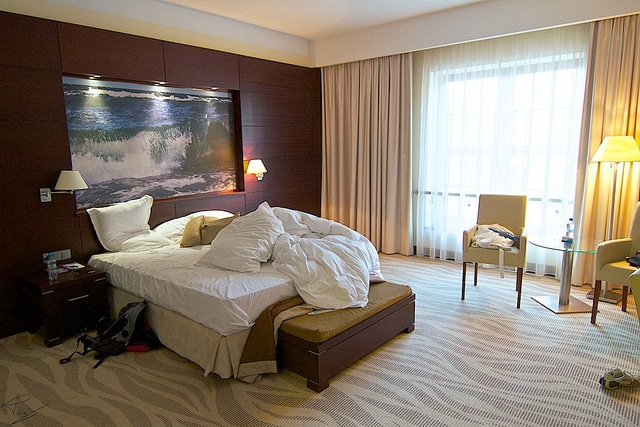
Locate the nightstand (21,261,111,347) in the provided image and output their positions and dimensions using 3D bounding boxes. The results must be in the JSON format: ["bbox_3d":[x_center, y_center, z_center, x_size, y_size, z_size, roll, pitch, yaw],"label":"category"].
[{"bbox_3d":[-2.945,0.926,4.948,0.833,0.804,0.814,8,14,34],"label":"nightstand"}]

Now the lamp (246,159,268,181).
[{"bbox_3d":[-1.013,-0.705,6.613,0.326,0.376,0.307,-3,14,-8],"label":"lamp"}]

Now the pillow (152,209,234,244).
[{"bbox_3d":[-1.653,0.167,5.607,0.629,0.190,0.627,-6,10,10],"label":"pillow"}]

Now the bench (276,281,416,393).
[{"bbox_3d":[0.198,0.946,4.102,0.844,0.410,1.270,2,7,41],"label":"bench"}]

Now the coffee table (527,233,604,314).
[{"bbox_3d":[3.000,0.719,5.307,0.902,0.830,0.886,-5,14,-23],"label":"coffee table"}]

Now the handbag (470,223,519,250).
[{"bbox_3d":[2.270,0.292,5.380,0.551,0.241,0.510,7,12,26],"label":"handbag"}]

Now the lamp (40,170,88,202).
[{"bbox_3d":[-3.014,-0.314,4.919,0.496,0.368,0.319,1,18,-5],"label":"lamp"}]

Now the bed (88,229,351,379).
[{"bbox_3d":[-1.186,0.965,4.050,1.473,0.382,1.448,8,9,24],"label":"bed"}]
